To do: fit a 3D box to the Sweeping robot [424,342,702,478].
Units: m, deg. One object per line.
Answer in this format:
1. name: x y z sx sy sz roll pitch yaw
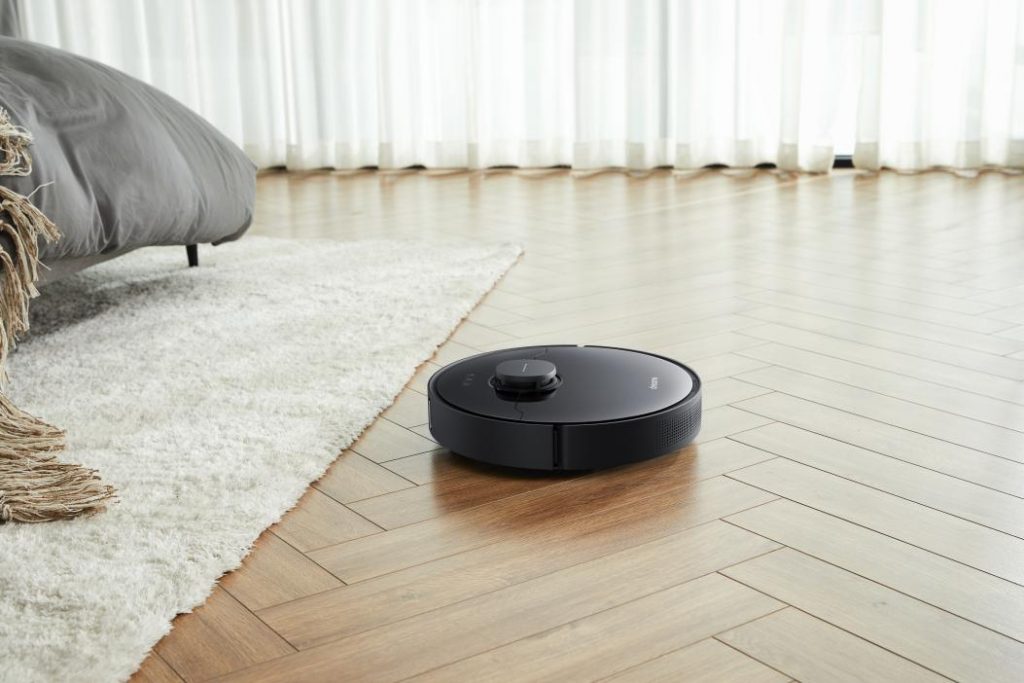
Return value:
1. Sweeping robot: 0.089 0.101 1.264 0.318 0.065 0.258 0 14 5
